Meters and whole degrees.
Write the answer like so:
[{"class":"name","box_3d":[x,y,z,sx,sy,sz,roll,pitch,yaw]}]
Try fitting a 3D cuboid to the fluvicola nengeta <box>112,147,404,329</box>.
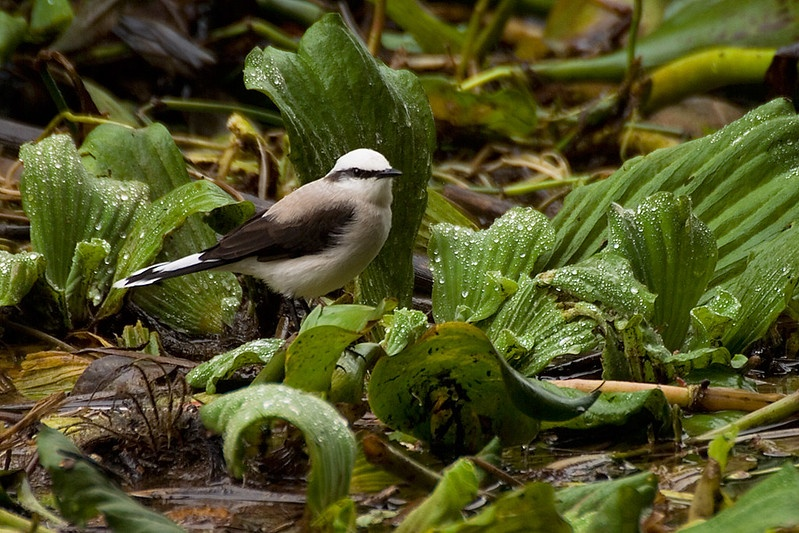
[{"class":"fluvicola nengeta","box_3d":[-0.472,-0.203,3.651,0.872,0.767,0.534,9,44,-6]}]
